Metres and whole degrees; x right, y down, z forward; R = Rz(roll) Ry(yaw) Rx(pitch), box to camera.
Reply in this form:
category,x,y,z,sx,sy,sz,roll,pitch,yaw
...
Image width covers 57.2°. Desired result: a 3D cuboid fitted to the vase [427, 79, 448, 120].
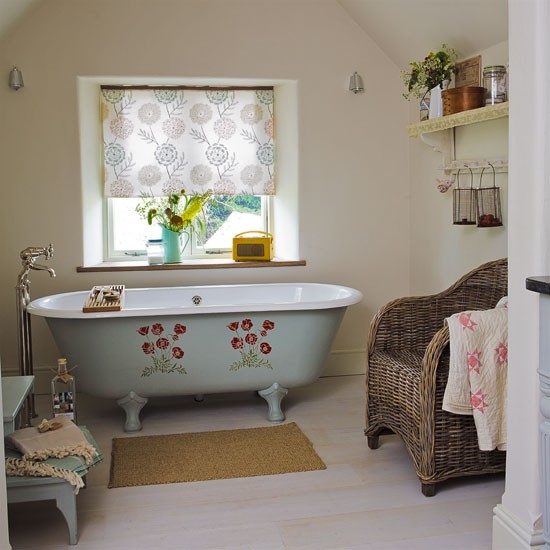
category,x,y,z,sx,sy,sz,roll,pitch,yaw
vase,0.920,-0.993,2.880,0.068,0.229,0.184,1,5,14

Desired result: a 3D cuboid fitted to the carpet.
category,x,y,z,sx,sy,sz,roll,pitch,yaw
carpet,-0.299,0.864,2.438,1.003,0.018,0.522,-1,4,-10

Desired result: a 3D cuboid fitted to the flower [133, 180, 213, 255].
category,x,y,z,sx,sy,sz,roll,pitch,yaw
flower,-0.769,-0.342,3.733,0.441,0.457,0.326,-5,0,30

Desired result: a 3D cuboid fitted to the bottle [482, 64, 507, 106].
category,x,y,z,sx,sy,sz,roll,pitch,yaw
bottle,1.083,-0.938,2.492,0.105,0.182,0.070,1,5,21

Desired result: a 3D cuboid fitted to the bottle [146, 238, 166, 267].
category,x,y,z,sx,sy,sz,roll,pitch,yaw
bottle,-0.881,-0.170,3.728,0.183,0.285,0.179,0,-1,0

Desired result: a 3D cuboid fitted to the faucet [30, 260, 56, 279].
category,x,y,z,sx,sy,sz,roll,pitch,yaw
faucet,-1.480,-0.037,3.210,0.220,0.088,0.051,20,18,33

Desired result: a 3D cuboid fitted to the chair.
category,x,y,z,sx,sy,sz,roll,pitch,yaw
chair,0.750,0.380,2.373,0.710,0.954,0.659,-5,-3,-22
